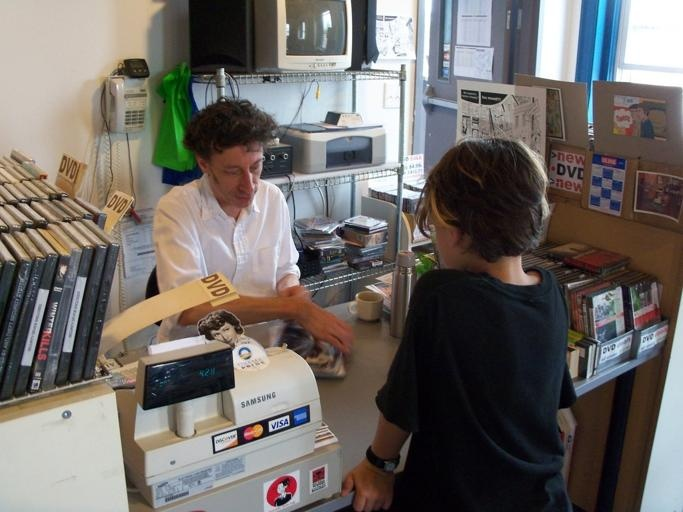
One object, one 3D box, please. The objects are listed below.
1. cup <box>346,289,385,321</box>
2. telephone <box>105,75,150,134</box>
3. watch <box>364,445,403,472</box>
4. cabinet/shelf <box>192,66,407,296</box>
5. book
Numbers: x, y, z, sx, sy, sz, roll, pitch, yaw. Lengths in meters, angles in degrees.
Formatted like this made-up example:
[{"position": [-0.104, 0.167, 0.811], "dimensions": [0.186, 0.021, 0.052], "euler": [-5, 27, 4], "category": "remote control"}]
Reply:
[{"position": [0.083, 0.188, 1.935], "dimensions": [0.118, 0.093, 0.092], "euler": [-3, 19, -14], "category": "cup"}, {"position": [-1.146, -0.808, 2.876], "dimensions": [0.159, 0.297, 0.217], "euler": [25, 28, 33], "category": "telephone"}, {"position": [0.099, 0.485, 1.271], "dimensions": [0.063, 0.028, 0.062], "euler": [26, 8, -35], "category": "watch"}, {"position": [-0.214, -0.384, 2.768], "dimensions": [1.129, 1.342, 0.460], "euler": [-17, 25, -38], "category": "cabinet/shelf"}, {"position": [0.005, -0.077, 3.283], "dimensions": [0.394, 0.151, 0.381], "euler": [-13, 20, -39], "category": "book"}]
